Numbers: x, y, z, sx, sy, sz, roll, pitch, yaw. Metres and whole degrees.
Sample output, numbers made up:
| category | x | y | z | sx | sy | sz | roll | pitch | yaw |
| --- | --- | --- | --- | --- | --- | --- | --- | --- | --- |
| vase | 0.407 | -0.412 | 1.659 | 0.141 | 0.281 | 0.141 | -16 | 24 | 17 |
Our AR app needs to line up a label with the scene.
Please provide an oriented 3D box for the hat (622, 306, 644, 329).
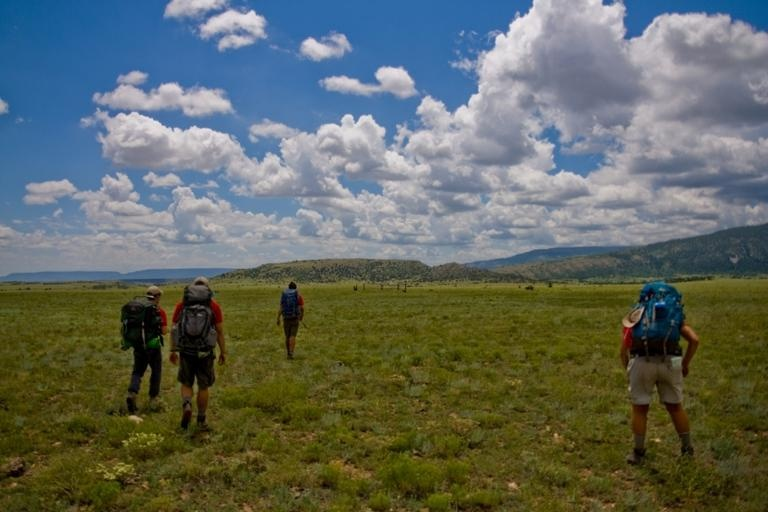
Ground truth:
| category | x | y | z | sx | sy | sz | roll | pitch | yaw |
| --- | --- | --- | --- | --- | --- | --- | --- | --- | --- |
| hat | 9.572 | 2.320 | 20.019 | 0.412 | 1.012 | 0.621 | 28 | 3 | 5 |
